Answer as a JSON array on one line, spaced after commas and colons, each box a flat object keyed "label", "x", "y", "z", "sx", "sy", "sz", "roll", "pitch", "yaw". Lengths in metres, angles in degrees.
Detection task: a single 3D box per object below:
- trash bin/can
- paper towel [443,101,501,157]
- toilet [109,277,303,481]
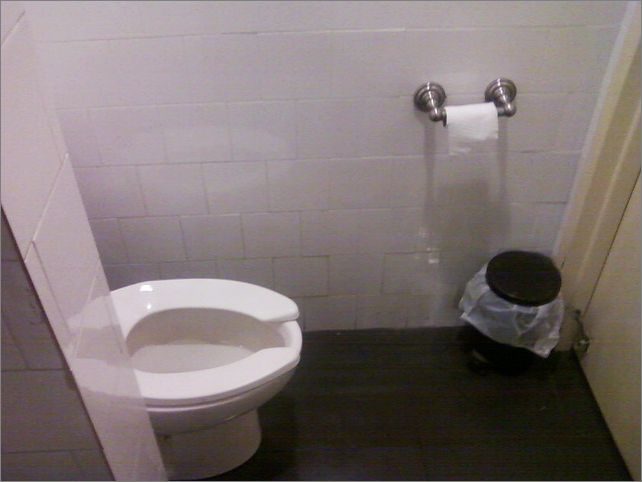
[{"label": "trash bin/can", "x": 0.517, "y": 0.193, "z": 1.716, "sx": 0.270, "sy": 0.356, "sz": 0.271, "roll": 2, "pitch": 40, "yaw": 10}, {"label": "paper towel", "x": 0.351, "y": -0.261, "z": 1.466, "sx": 0.121, "sy": 0.124, "sz": 0.103, "roll": 1, "pitch": 39, "yaw": 8}, {"label": "toilet", "x": -0.238, "y": 0.342, "z": 1.583, "sx": 0.437, "sy": 0.469, "sz": 0.425, "roll": -10, "pitch": 38, "yaw": -5}]
